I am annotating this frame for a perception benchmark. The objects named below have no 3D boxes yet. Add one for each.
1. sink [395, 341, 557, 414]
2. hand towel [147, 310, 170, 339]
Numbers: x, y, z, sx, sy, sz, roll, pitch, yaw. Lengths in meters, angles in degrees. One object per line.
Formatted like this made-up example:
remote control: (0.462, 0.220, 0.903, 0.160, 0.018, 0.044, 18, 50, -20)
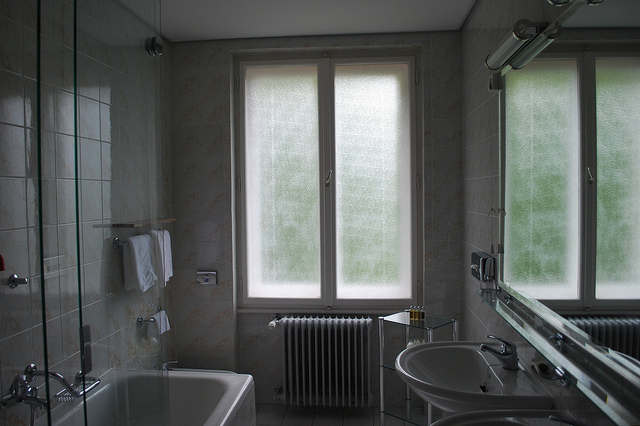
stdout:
sink: (0.800, 0.905, 2.727, 0.705, 0.196, 0.746, -2, 6, -5)
hand towel: (-0.849, 0.584, 2.597, 0.050, 0.079, 0.139, 7, -18, 3)
